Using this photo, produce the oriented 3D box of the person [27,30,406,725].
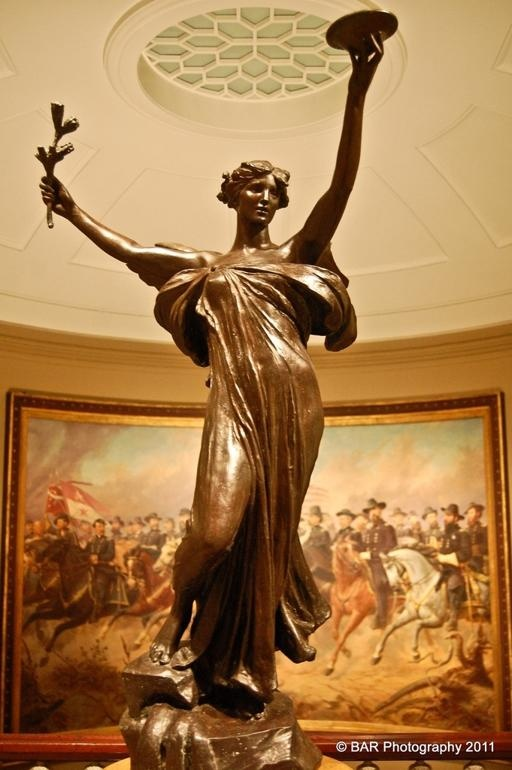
[{"bbox_3d":[-0.090,-0.093,2.333,1.098,2.126,1.078,-1,10,10],"label":"person"}]
